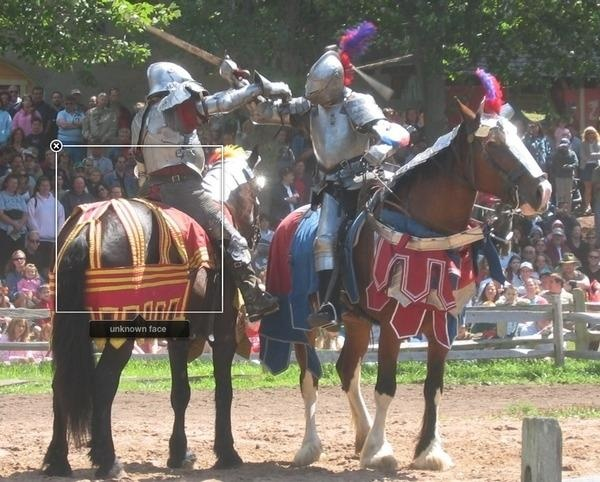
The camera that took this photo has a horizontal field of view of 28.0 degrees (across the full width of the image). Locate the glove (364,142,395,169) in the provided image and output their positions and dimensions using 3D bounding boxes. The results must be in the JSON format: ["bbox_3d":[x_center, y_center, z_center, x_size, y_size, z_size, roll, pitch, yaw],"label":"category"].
[{"bbox_3d":[0.811,-0.837,11.876,0.233,0.246,0.306,6,7,28],"label":"glove"}]

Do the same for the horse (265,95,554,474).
[{"bbox_3d":[1.085,0.439,12.152,2.890,3.630,1.011,2,6,17],"label":"horse"}]

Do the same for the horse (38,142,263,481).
[{"bbox_3d":[-1.560,0.931,11.784,1.910,2.697,0.661,-4,7,-33],"label":"horse"}]

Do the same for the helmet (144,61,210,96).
[{"bbox_3d":[-1.287,-1.663,12.262,0.500,0.268,0.396,-10,6,-12],"label":"helmet"}]

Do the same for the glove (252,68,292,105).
[{"bbox_3d":[-0.291,-1.591,12.329,0.380,0.186,0.271,9,19,-15],"label":"glove"}]
